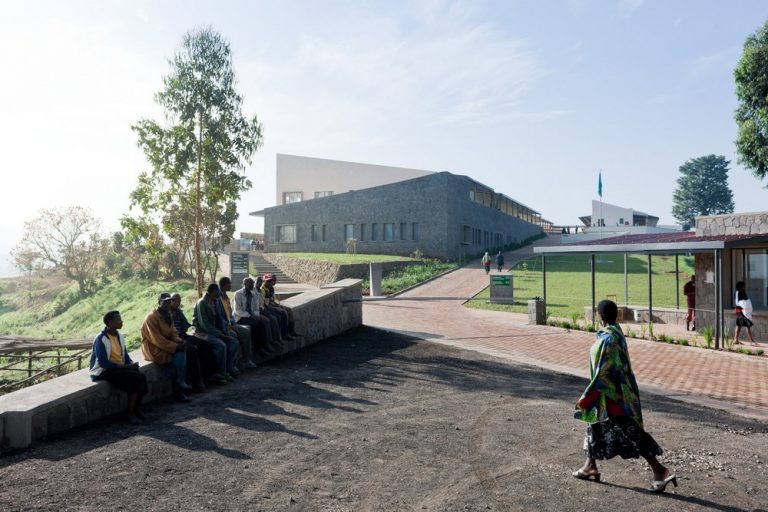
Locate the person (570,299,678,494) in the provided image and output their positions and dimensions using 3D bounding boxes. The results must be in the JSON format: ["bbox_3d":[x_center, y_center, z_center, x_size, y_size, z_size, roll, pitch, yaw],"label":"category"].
[{"bbox_3d":[3.504,2.063,7.565,1.179,2.747,0.401,3,5,21],"label":"person"}]

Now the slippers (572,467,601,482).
[{"bbox_3d":[3.099,3.313,7.800,0.366,0.210,0.200,4,-9,11],"label":"slippers"}]

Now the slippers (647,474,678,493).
[{"bbox_3d":[4.186,3.321,7.510,0.510,0.213,0.195,-8,-16,-18],"label":"slippers"}]

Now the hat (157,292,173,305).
[{"bbox_3d":[-4.509,0.878,10.457,0.261,0.262,0.290,-1,5,-26],"label":"hat"}]

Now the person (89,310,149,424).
[{"bbox_3d":[-4.888,1.974,9.404,1.084,1.910,0.719,3,5,19],"label":"person"}]

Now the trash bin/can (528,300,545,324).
[{"bbox_3d":[6.151,2.207,20.248,0.693,0.978,0.446,0,5,-11],"label":"trash bin/can"}]
